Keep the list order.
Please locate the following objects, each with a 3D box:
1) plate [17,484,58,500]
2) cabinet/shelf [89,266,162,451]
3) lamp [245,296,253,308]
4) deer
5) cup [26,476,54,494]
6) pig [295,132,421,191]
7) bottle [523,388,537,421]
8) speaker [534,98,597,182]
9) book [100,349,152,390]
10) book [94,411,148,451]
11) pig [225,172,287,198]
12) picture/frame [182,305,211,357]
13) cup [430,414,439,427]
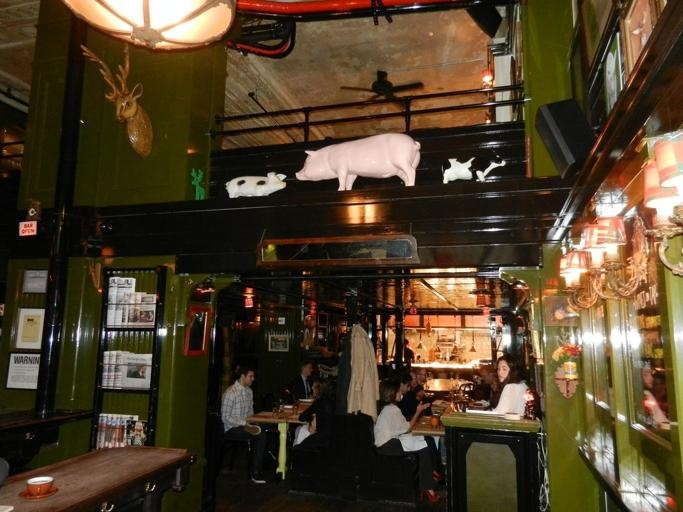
[{"bbox_3d":[-2.293,1.773,4.143,0.251,0.099,0.211,6,-12,-30],"label":"plate"},{"bbox_3d":[-2.574,1.306,6.721,0.896,2.287,0.259,3,0,9],"label":"cabinet/shelf"},{"bbox_3d":[-2.014,0.973,11.903,0.183,0.186,0.338,2,-13,-11],"label":"lamp"},{"bbox_3d":[-2.848,-2.064,6.863,0.754,1.493,0.684,-2,-11,10],"label":"deer"},{"bbox_3d":[-2.275,1.728,4.127,0.146,0.099,0.148,0,-14,0],"label":"cup"},{"bbox_3d":[0.205,-1.014,6.047,1.322,0.618,0.222,-4,-11,19],"label":"pig"},{"bbox_3d":[2.271,1.769,6.535,0.151,0.320,0.391,-4,-11,20],"label":"bottle"},{"bbox_3d":[1.870,-1.021,4.639,0.418,0.555,0.721,3,3,19],"label":"speaker"},{"bbox_3d":[-2.620,1.391,6.662,0.518,0.500,0.240,0,-3,22],"label":"book"},{"bbox_3d":[-2.622,2.087,6.535,0.671,0.401,0.042,-2,-11,10],"label":"book"},{"bbox_3d":[-1.023,-0.841,6.479,0.668,0.336,0.311,1,-34,8],"label":"pig"},{"bbox_3d":[-1.809,0.916,6.771,0.071,0.723,0.617,3,-5,19],"label":"picture/frame"},{"bbox_3d":[1.345,2.331,7.739,0.123,0.128,0.127,-1,-3,0],"label":"cup"}]
